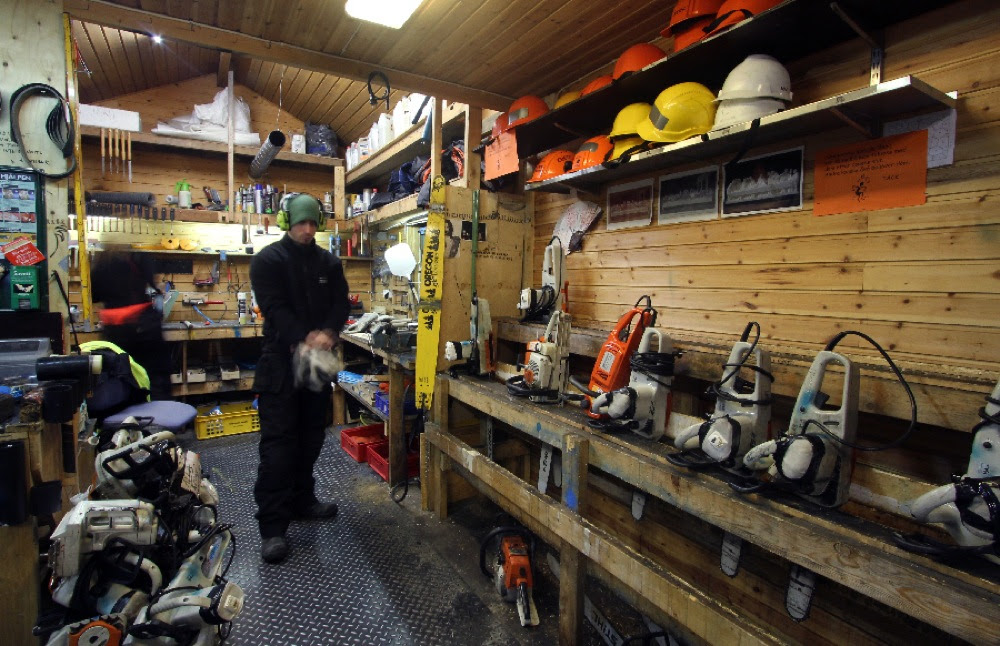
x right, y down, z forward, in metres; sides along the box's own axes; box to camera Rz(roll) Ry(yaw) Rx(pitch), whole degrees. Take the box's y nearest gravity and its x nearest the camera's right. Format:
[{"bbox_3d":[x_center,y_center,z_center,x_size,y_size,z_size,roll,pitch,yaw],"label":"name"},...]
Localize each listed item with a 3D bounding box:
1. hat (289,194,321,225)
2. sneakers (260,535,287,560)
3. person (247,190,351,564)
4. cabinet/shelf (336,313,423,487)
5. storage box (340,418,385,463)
[{"bbox_3d":[-1.254,-0.718,4.130,0.190,0.180,0.198,-4,24,-28],"label":"hat"},{"bbox_3d":[-1.420,1.424,3.994,0.153,0.138,0.123,1,8,-18],"label":"sneakers"},{"bbox_3d":[-1.317,0.317,4.207,0.721,2.292,0.586,-5,11,-44],"label":"person"},{"bbox_3d":[-0.962,0.648,5.112,0.511,0.808,1.374,0,2,-28],"label":"cabinet/shelf"},{"bbox_3d":[-1.183,0.985,5.404,0.321,0.101,0.314,-3,12,-32],"label":"storage box"}]
